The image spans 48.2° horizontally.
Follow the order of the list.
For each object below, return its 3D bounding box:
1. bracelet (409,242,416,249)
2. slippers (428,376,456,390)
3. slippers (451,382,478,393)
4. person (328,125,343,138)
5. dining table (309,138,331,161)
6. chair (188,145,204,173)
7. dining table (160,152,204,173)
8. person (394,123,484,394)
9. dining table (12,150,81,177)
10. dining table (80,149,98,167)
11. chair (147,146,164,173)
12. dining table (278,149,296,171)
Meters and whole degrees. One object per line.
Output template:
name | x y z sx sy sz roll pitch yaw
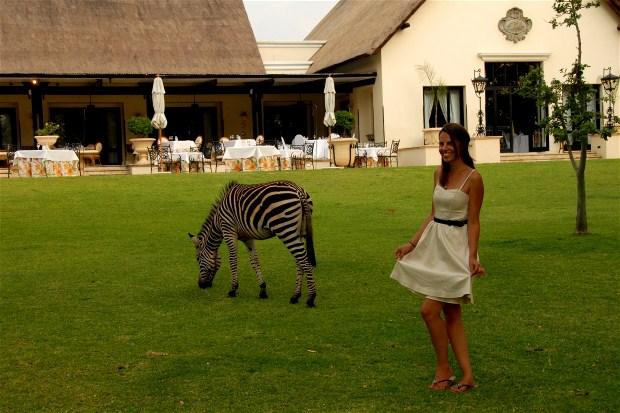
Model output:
bracelet | 1.380 0.512 9.445 0.076 0.020 0.080 37 9 27
slippers | 1.778 2.382 9.314 0.338 0.158 0.096 -22 -7 12
slippers | 2.063 2.424 9.283 0.309 0.077 0.124 1 -2 -16
person | 1.157 -3.420 31.002 0.782 0.570 0.790 2 6 9
dining table | 0.329 -2.466 29.299 0.827 1.122 0.914 2 6 29
chair | -4.422 -1.782 26.675 0.779 1.131 0.761 0 7 -5
dining table | -4.937 -1.735 26.595 1.048 0.513 1.034 0 1 -37
person | 1.784 0.671 9.301 1.047 3.475 0.906 3 15 13
dining table | -9.505 -1.586 24.882 1.302 0.712 1.368 -1 -1 44
dining table | -9.537 -2.236 29.510 0.816 0.615 1.241 1 1 -7
chair | -5.963 -1.847 26.586 0.494 1.005 1.180 -4 15 -14
dining table | -0.973 -1.918 27.370 0.710 0.730 0.733 0 1 -29
